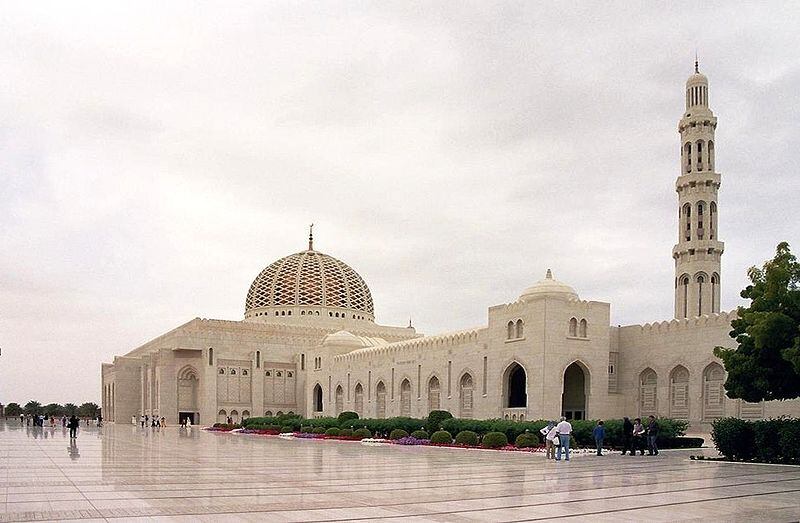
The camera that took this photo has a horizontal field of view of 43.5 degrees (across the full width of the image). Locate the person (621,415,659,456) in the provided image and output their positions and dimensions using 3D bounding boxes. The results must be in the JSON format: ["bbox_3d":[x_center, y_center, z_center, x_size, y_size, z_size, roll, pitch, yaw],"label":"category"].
[{"bbox_3d":[8.435,6.152,35.327,1.220,1.340,1.786,-4,-14,11],"label":"person"}]
